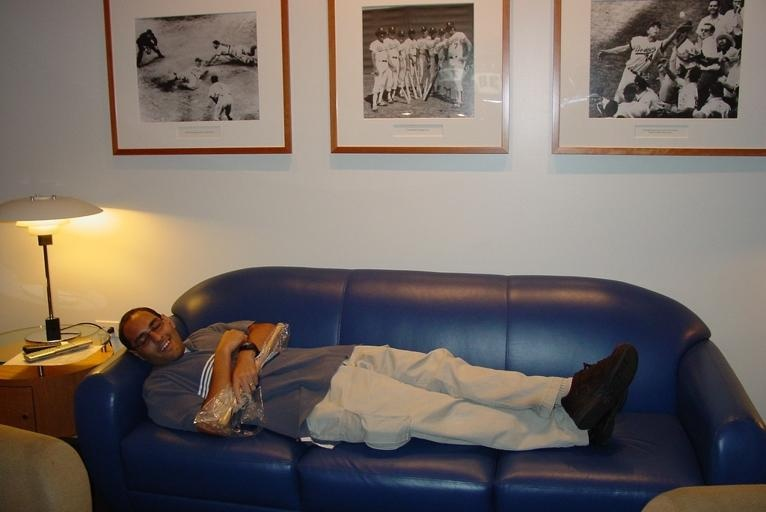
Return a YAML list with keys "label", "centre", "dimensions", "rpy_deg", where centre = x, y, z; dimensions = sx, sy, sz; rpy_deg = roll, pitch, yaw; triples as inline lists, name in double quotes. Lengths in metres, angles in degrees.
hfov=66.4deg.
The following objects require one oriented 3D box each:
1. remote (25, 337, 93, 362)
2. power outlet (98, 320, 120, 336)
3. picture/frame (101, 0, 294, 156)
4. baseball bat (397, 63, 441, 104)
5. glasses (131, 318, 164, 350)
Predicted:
- label: "remote"
  centre: [-1.794, 0.519, 3.239]
  dimensions: [0.201, 0.040, 0.128]
  rpy_deg: [-11, 10, -14]
- label: "power outlet"
  centre: [-1.673, 0.439, 3.575]
  dimensions: [0.124, 0.075, 0.020]
  rpy_deg: [5, 0, 13]
- label: "picture/frame"
  centre: [-1.046, -1.084, 3.449]
  dimensions: [0.968, 0.961, 0.024]
  rpy_deg: [2, 17, 7]
- label: "baseball bat"
  centre: [0.193, -0.978, 3.338]
  dimensions: [0.191, 0.201, 0.054]
  rpy_deg: [10, 8, 4]
- label: "glasses"
  centre: [-1.160, 0.387, 2.896]
  dimensions: [0.156, 0.050, 0.148]
  rpy_deg: [-57, 12, -32]
